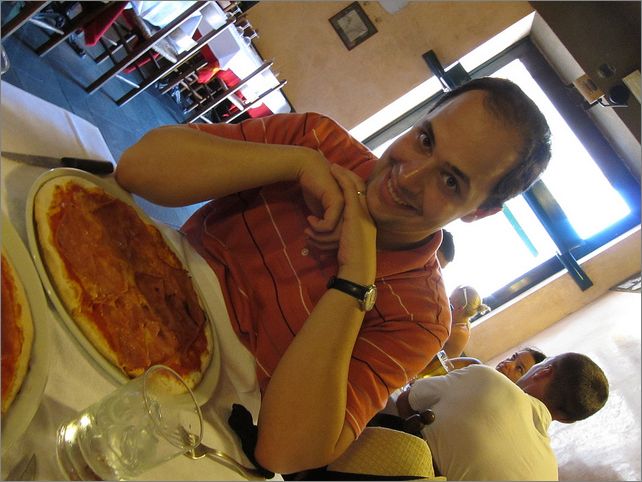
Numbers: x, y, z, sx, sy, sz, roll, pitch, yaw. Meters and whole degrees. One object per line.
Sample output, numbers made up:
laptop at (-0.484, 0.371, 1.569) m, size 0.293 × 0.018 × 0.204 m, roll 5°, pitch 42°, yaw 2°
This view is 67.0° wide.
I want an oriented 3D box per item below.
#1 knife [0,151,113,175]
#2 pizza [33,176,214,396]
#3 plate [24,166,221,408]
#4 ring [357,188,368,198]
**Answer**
knife at (-0.597, -0.158, 1.140) m, size 0.269 × 0.042 × 0.046 m, roll -1°, pitch 47°, yaw -51°
pizza at (-0.429, 0.114, 1.052) m, size 0.476 × 0.052 × 0.306 m, roll 59°, pitch 22°, yaw 2°
plate at (-0.326, 0.073, 0.969) m, size 0.513 × 0.072 × 0.380 m, roll 52°, pitch 15°, yaw -25°
ring at (0.121, -0.133, 1.377) m, size 0.022 × 0.021 × 0.009 m, roll -104°, pitch -167°, yaw -49°
